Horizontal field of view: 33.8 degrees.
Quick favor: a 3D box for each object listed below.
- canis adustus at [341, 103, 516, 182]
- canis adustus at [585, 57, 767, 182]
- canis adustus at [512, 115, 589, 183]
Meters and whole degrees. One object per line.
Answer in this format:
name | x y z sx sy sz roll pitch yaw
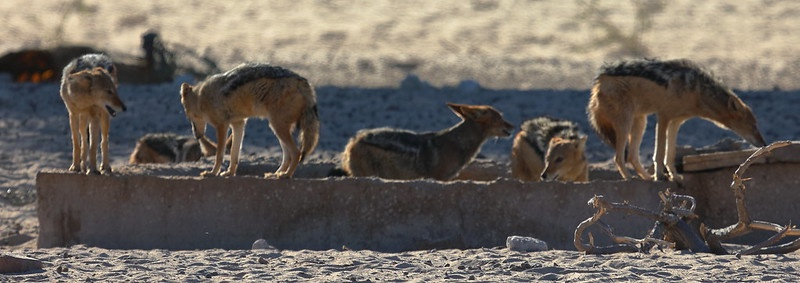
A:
canis adustus | 0.832 0.416 52.455 7.977 3.023 1.823 -4 13 -19
canis adustus | 10.508 -0.855 51.666 5.788 4.679 0.655 -2 0 -2
canis adustus | 6.109 0.311 52.955 1.701 2.486 2.483 -2 0 -41
